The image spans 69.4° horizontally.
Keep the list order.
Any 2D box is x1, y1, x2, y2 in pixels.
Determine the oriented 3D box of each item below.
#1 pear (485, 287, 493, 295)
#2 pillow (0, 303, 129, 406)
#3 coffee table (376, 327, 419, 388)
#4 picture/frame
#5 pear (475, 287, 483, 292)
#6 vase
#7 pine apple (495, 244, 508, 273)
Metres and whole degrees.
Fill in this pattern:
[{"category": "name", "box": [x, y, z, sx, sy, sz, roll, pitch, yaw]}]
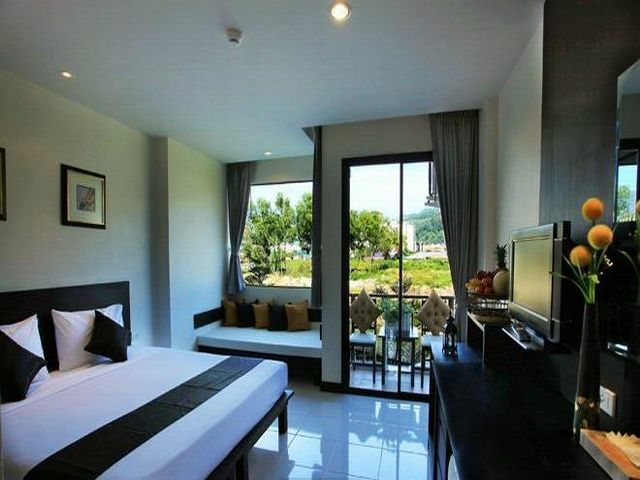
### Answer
[{"category": "pear", "box": [1.287, 0.384, 3.507, 0.046, 0.052, 0.047, -7, -10, 38]}, {"category": "pillow", "box": [-2.200, 0.987, 3.910, 0.152, 0.450, 0.688, -33, -15, 25]}, {"category": "coffee table", "box": [0.818, 1.256, 4.898, 0.415, 0.703, 0.546, 0, -8, 4]}, {"category": "picture/frame", "box": [-2.453, -0.478, 4.172, 0.026, 0.468, 0.739, -2, -4, 21]}, {"category": "pear", "box": [1.235, 0.383, 3.576, 0.033, 0.037, 0.035, 0, 1, -17]}, {"category": "vase", "box": [1.510, 0.728, 2.608, 0.150, 0.826, 0.124, -2, -1, 29]}, {"category": "pine apple", "box": [1.442, 0.140, 3.656, 0.078, 0.213, 0.271, -2, -1, 23]}]
